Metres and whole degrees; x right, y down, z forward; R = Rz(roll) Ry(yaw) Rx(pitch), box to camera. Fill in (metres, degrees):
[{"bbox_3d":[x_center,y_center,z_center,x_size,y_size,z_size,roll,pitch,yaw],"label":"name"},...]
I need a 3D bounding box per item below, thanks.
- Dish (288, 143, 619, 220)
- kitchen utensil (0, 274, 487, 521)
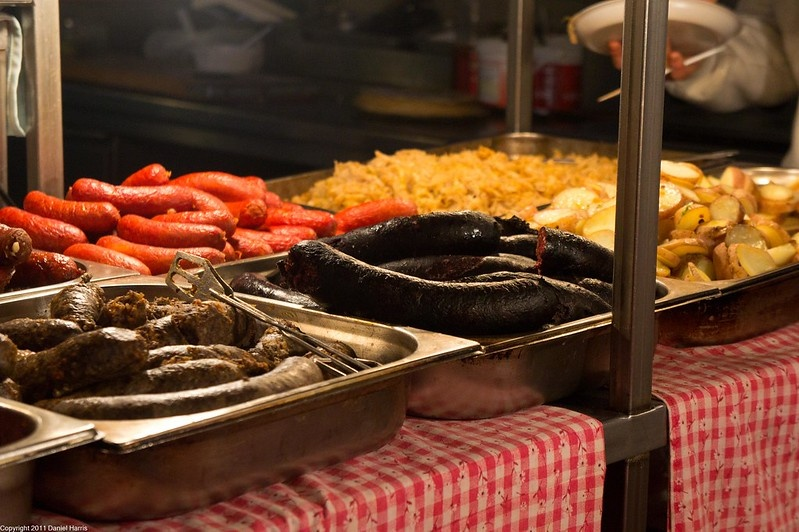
[{"bbox_3d":[0.253,-0.260,2.157,0.692,0.082,0.406,-9,11,-31],"label":"Dish"},{"bbox_3d":[-0.202,0.132,0.945,0.371,0.085,0.337,-7,11,-35],"label":"kitchen utensil"}]
